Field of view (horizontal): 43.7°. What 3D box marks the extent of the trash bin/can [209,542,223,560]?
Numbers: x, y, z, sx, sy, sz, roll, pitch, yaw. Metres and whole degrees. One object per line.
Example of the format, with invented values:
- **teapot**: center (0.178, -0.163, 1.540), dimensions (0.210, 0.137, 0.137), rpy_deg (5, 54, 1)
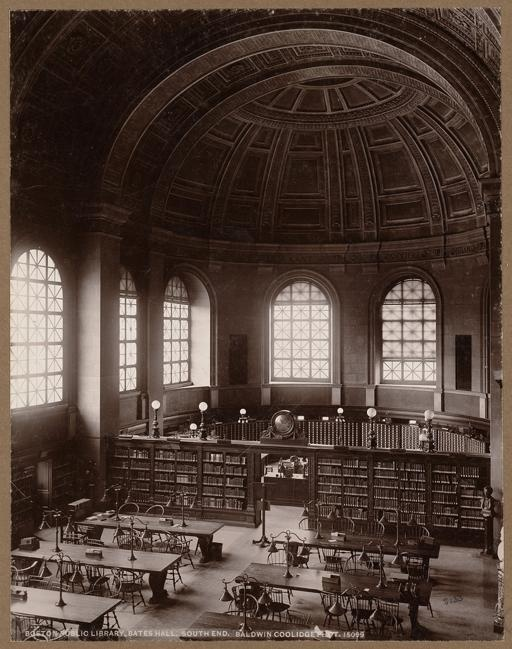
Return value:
- **trash bin/can**: center (-0.573, 3.374, 9.501), dimensions (0.223, 0.223, 0.218), rpy_deg (3, -5, -37)
